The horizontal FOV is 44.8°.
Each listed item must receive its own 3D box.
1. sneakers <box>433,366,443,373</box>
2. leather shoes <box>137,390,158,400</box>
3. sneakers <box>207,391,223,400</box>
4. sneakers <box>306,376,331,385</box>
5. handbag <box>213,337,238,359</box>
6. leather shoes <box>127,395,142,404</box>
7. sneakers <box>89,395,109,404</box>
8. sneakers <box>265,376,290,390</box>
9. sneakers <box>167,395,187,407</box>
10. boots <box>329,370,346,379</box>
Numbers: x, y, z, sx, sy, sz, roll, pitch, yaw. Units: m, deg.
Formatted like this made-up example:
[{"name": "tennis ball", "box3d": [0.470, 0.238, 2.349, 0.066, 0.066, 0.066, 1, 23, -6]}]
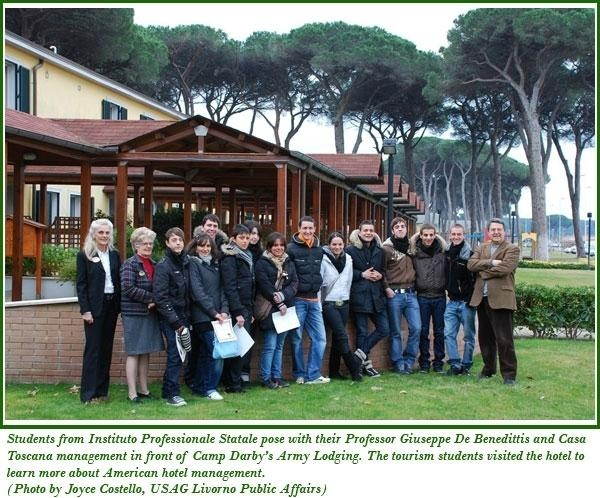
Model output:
[{"name": "sneakers", "box3d": [2.237, 1.940, 11.791, 0.068, 0.168, 0.159, 3, -9, -12]}, {"name": "leather shoes", "box3d": [-2.109, 2.015, 10.148, 0.289, 0.112, 0.106, 4, -3, 0]}, {"name": "sneakers", "box3d": [-1.172, 2.039, 10.172, 0.175, 0.082, 0.104, 2, 2, 26]}, {"name": "sneakers", "box3d": [0.271, 1.935, 10.952, 0.322, 0.162, 0.137, -3, 3, 8]}, {"name": "handbag", "box3d": [-1.022, 1.339, 9.949, 0.253, 0.276, 0.118, 1, -8, -38]}, {"name": "leather shoes", "box3d": [-2.260, 2.037, 9.968, 0.199, 0.091, 0.147, -2, -2, -1]}, {"name": "sneakers", "box3d": [-2.740, 2.058, 9.950, 0.069, 0.098, 0.302, -1, -8, 15]}, {"name": "sneakers", "box3d": [-0.324, 1.971, 10.774, 0.356, 0.190, 0.145, -1, 0, 8]}, {"name": "sneakers", "box3d": [-1.651, 2.051, 9.870, 0.239, 0.106, 0.115, -2, -1, 37]}, {"name": "boots", "box3d": [0.582, 1.952, 11.439, 0.274, 0.201, 0.104, -2, 0, 9]}]
